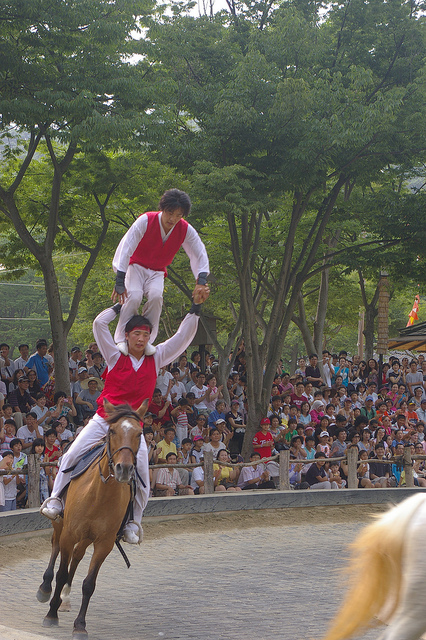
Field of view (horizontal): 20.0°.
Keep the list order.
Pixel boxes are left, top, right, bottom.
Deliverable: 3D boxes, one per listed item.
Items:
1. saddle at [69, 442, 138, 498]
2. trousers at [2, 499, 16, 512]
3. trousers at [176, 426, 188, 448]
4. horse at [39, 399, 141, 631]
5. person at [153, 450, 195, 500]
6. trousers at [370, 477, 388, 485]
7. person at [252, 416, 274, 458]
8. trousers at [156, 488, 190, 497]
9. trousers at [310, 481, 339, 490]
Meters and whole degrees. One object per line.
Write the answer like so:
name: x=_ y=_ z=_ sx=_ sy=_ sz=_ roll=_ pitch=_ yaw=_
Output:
saddle: x=-1.181 y=1.631 z=12.953 sx=0.638 sy=0.587 sz=0.455 roll=1 pitch=-2 yaw=-32
trousers: x=-2.817 y=2.609 z=16.884 sx=0.179 sy=0.237 sz=0.133 roll=3 pitch=-5 yaw=-19
trousers: x=-0.512 y=1.868 z=19.761 sx=0.173 sy=0.226 sz=0.405 roll=0 pitch=-1 yaw=-1
horse: x=-1.312 y=2.082 z=13.003 sx=1.036 sy=2.442 sz=2.250 roll=0 pitch=-1 yaw=-18
person: x=-0.677 y=2.440 z=18.657 sx=0.676 sy=0.792 sz=0.638 roll=-5 pitch=-8 yaw=44
trousers: x=2.770 y=2.731 z=20.333 sx=0.139 sy=0.076 sz=0.238 roll=1 pitch=0 yaw=33
person: x=0.829 y=1.972 z=20.102 sx=0.353 sy=0.595 sz=0.858 roll=0 pitch=-1 yaw=3
trousers: x=-0.606 y=2.659 z=18.511 sx=0.565 sy=0.096 sz=0.209 roll=1 pitch=-1 yaw=-24
trousers: x=1.827 y=2.738 z=19.829 sx=0.307 sy=0.108 sz=0.176 roll=2 pitch=-3 yaw=0
